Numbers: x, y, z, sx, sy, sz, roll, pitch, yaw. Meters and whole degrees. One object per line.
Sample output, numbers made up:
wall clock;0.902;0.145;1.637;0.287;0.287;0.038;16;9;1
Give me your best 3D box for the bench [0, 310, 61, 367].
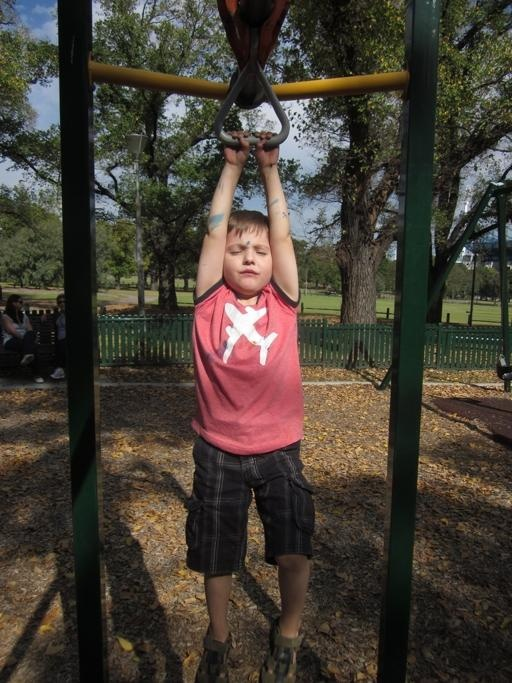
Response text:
bench;-3.636;-0.005;8.663;0.947;0.610;0.955;0;7;-9
